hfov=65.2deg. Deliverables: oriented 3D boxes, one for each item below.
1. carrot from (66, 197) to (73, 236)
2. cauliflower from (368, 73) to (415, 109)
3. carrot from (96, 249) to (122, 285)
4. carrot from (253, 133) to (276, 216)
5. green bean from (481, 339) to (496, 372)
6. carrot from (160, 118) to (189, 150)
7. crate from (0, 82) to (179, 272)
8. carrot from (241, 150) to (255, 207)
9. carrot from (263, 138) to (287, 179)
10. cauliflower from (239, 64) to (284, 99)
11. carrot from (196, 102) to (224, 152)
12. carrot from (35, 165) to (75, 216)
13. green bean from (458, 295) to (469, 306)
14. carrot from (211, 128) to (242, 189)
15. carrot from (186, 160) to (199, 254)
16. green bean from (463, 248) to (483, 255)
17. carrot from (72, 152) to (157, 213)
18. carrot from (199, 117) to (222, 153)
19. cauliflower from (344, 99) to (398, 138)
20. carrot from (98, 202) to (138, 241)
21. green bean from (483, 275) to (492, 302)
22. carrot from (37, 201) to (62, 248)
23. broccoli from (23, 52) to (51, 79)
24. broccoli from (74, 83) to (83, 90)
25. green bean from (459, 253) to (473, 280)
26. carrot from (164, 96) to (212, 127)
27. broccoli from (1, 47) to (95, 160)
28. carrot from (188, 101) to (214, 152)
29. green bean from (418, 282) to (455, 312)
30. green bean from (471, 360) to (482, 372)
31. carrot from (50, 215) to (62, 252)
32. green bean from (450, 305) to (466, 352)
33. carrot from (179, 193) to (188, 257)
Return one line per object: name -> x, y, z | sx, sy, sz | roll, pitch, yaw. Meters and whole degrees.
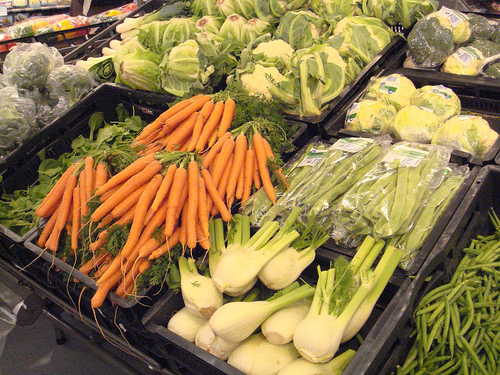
carrot -> -1.281, 0.210, 2.774 | 0.047, 0.034, 0.256 | 4, 92, -11
cauliflower -> 1.250, -0.772, 3.331 | 0.342, 0.373, 0.208 | 14, 89, 46
carrot -> -0.887, 0.505, 2.463 | 0.050, 0.052, 0.258 | 37, 63, -21
carrot -> 0.090, -0.106, 2.722 | 0.083, 0.084, 0.607 | -4, 73, -39
green bean -> 1.212, 0.858, 1.978 | 0.019, 0.022, 0.133 | -13, 54, 0
carrot -> -0.576, -0.412, 2.987 | 0.036, 0.036, 0.309 | 37, 86, 20
crate -> -1.539, -0.133, 3.930 | 1.148, 0.640, 1.939 | 28, 64, 33
carrot -> -0.014, -0.057, 2.784 | 0.065, 0.068, 0.404 | 11, 81, -19
carrot -> 0.162, -0.201, 2.770 | 0.047, 0.048, 0.327 | -11, 67, -46
cauliflower -> 0.074, -0.862, 3.447 | 0.316, 0.113, 0.367 | -2, 73, 8
carrot -> -0.295, -0.465, 3.007 | 0.109, 0.105, 0.503 | 5, 65, 45
carrot -> -1.525, 0.033, 3.047 | 0.495, 0.051, 0.049 | -51, 36, -12
green bean -> 1.154, 0.616, 2.129 | 0.017, 0.014, 0.066 | -22, 58, -25
carrot -> -0.191, -0.194, 2.792 | 0.089, 0.081, 0.489 | 30, 74, -18
carrot -> -0.383, 0.111, 2.546 | 0.082, 0.079, 0.630 | -11, 72, 26
green bean -> 1.310, 0.377, 2.298 | 0.092, 0.035, 0.029 | 13, 62, 15
carrot -> -0.936, -0.018, 2.688 | 0.570, 0.082, 0.078 | -42, 93, -17
carrot -> -0.297, -0.381, 2.902 | 0.037, 0.049, 0.272 | 19, 66, 11
cauliflower -> 0.941, -0.563, 3.067 | 0.342, 0.204, 0.369 | -25, 39, -1
carrot -> -0.862, 0.225, 2.535 | 0.060, 0.050, 0.302 | 43, 70, 10
green bean -> 1.297, 0.567, 2.139 | 0.031, 0.027, 0.227 | 16, 59, 7
carrot -> -1.431, 0.275, 2.780 | 0.055, 0.056, 0.338 | 19, 76, 38
broccoli -> -2.124, -1.216, 3.884 | 0.244, 0.213, 0.085 | -61, 25, -12
broccoli -> -1.774, -1.034, 4.008 | 0.055, 0.058, 0.020 | 14, 7, -32
green bean -> 1.237, 0.463, 2.244 | 0.023, 0.019, 0.166 | 2, 46, 37
carrot -> -0.474, -0.579, 3.019 | 0.461, 0.083, 0.084 | -36, 29, -10
broccoli -> -1.976, -0.770, 3.778 | 0.906, 0.277, 0.898 | 32, 75, 30
carrot -> -0.369, -0.475, 2.970 | 0.086, 0.095, 0.505 | 4, 67, 44
green bean -> 1.004, 0.602, 2.122 | 0.262, 0.046, 0.039 | -29, 83, -19
green bean -> 1.133, 0.897, 1.965 | 0.010, 0.021, 0.073 | -17, 69, -18
carrot -> -1.341, 0.324, 2.694 | 0.038, 0.046, 0.211 | 4, 66, 10
green bean -> 1.076, 0.731, 2.021 | 0.033, 0.020, 0.172 | -24, 56, 35
carrot -> -0.423, 0.236, 2.537 | 0.038, 0.041, 0.359 | 1, 70, 3
